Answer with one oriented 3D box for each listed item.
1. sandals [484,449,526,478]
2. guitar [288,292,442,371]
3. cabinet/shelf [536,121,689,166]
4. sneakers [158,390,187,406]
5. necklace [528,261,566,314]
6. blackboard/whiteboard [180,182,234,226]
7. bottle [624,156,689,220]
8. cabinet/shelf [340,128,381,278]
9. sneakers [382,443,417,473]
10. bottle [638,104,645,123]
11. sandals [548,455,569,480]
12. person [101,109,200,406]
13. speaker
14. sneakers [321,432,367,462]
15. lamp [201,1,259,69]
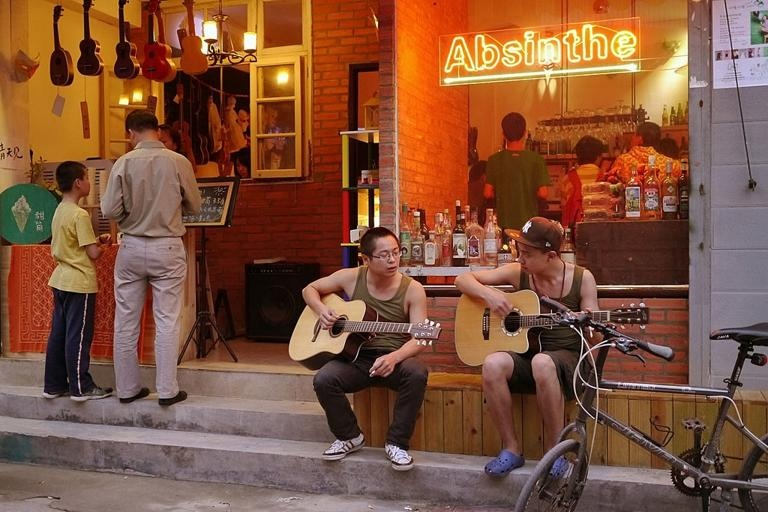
[{"bbox_3d":[0.855,1.428,4.909,0.277,0.125,0.144,-13,15,-29],"label":"sandals"},{"bbox_3d":[-0.181,0.582,5.078,1.014,0.550,0.203,8,-17,30],"label":"guitar"},{"bbox_3d":[2.315,-1.303,7.350,0.223,0.432,1.826,-26,23,-24],"label":"cabinet/shelf"},{"bbox_3d":[-1.815,1.212,6.074,0.090,0.111,0.258,2,6,25],"label":"sneakers"},{"bbox_3d":[1.164,0.244,4.821,0.217,0.393,0.104,-4,-8,14],"label":"necklace"},{"bbox_3d":[-1.706,-0.509,6.707,0.054,0.477,0.644,23,18,30],"label":"blackboard/whiteboard"},{"bbox_3d":[2.221,-0.573,5.790,0.412,0.518,0.214,1,4,20],"label":"bottle"},{"bbox_3d":[-0.234,-0.474,7.763,0.530,1.666,0.877,0,12,1],"label":"cabinet/shelf"},{"bbox_3d":[0.129,1.430,4.967,0.109,0.110,0.270,-3,0,-27],"label":"sneakers"},{"bbox_3d":[2.667,-1.478,7.255,0.056,0.180,0.146,-1,3,-11],"label":"bottle"},{"bbox_3d":[1.107,1.326,4.381,0.096,0.038,0.163,2,38,22],"label":"sandals"},{"bbox_3d":[-2.008,0.008,6.090,0.752,2.542,0.371,0,3,4],"label":"person"},{"bbox_3d":[-1.230,0.501,8.393,0.724,0.921,0.547,0,8,-3],"label":"speaker"},{"bbox_3d":[-0.285,1.418,5.247,0.391,0.171,0.130,-13,10,-31],"label":"sneakers"},{"bbox_3d":[-1.890,-2.779,8.659,0.650,0.947,1.272,-1,4,-10],"label":"lamp"}]
